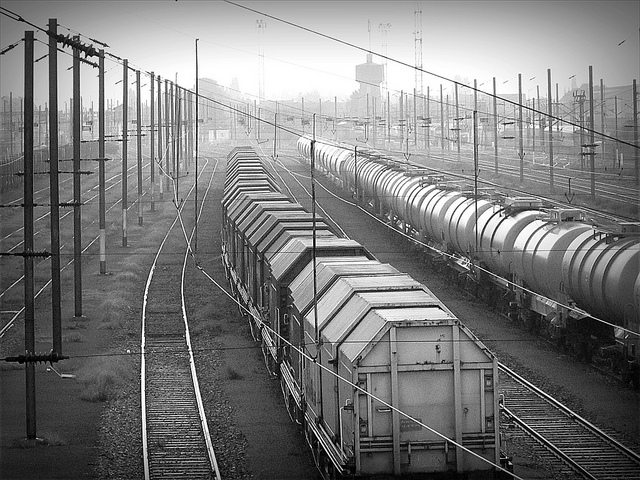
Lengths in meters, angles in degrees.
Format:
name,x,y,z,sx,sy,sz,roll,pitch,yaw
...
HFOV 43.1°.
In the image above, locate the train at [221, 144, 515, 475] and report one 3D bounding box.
name,x,y,z,sx,sy,sz,roll,pitch,yaw
train,0.114,0.810,30.621,4.085,4.645,24.225,-3,18,-12
